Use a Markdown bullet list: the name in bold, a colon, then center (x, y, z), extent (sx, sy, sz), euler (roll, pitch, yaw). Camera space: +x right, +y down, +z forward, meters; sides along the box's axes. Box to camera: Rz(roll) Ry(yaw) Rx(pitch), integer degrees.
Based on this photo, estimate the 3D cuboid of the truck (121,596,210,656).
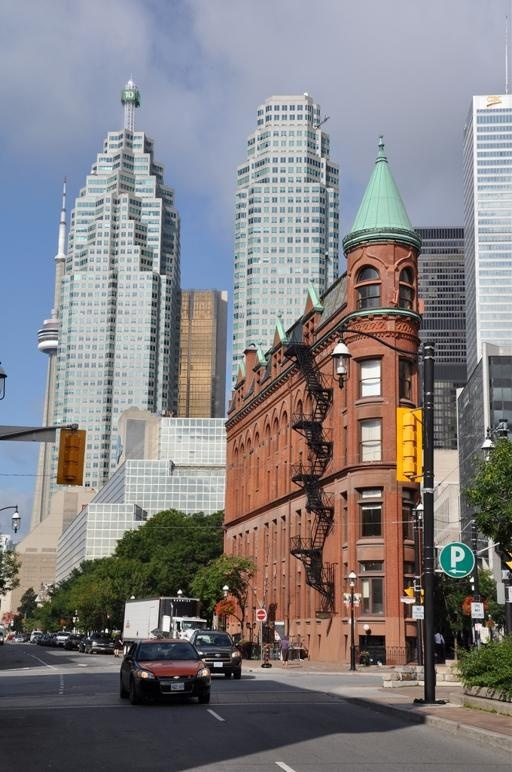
- **truck**: center (-5.550, 14.273, 55.014), extent (2.156, 3.732, 7.314), euler (13, -18, -32)
